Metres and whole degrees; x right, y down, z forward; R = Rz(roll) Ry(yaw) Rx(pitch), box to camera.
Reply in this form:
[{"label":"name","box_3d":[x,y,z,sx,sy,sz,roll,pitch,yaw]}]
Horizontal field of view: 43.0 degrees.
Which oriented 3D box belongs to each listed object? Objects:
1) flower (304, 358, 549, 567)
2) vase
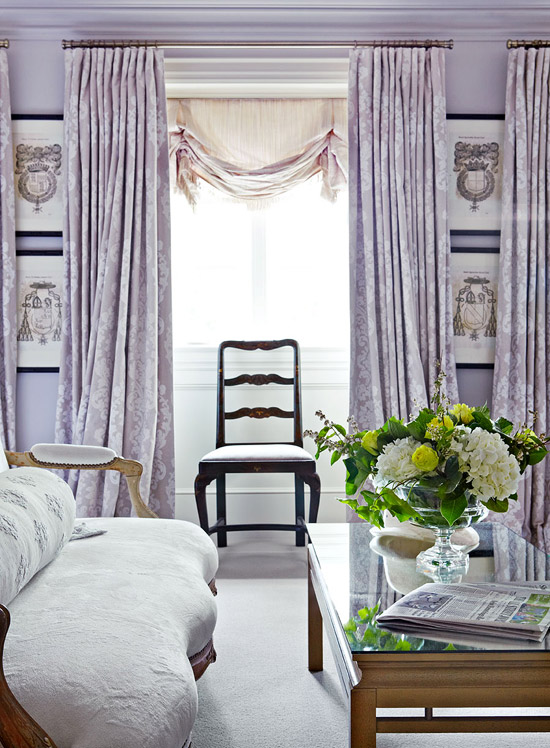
[{"label":"flower","box_3d":[0.359,0.138,1.582,0.457,0.412,0.451,-2,2,20]},{"label":"vase","box_3d":[0.341,0.327,1.467,0.179,0.163,0.182,1,-4,-3]}]
